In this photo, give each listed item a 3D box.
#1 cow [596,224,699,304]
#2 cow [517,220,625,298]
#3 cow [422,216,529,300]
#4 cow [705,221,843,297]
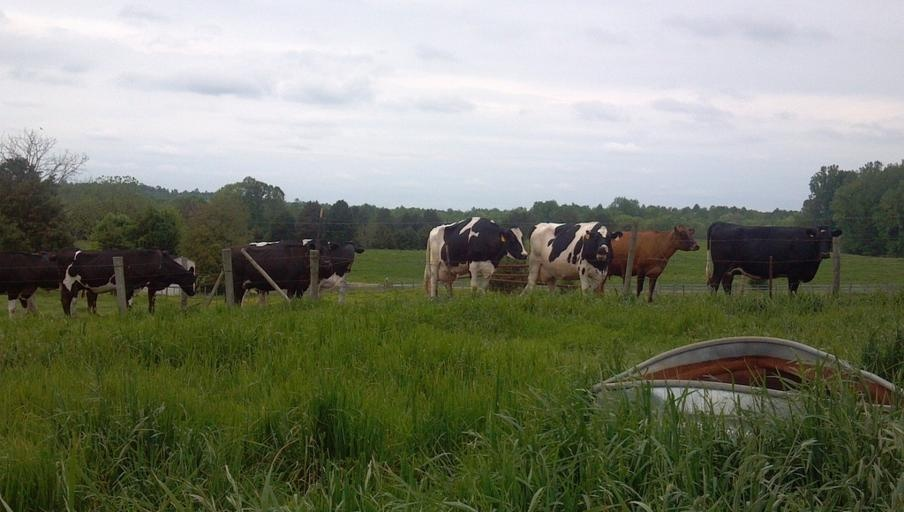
[{"bbox_3d":[7.237,0.026,36.799,6.727,3.799,1.931,-6,-6,39],"label":"cow"},{"bbox_3d":[5.342,0.211,38.049,2.400,3.156,6.093,-3,1,-28],"label":"cow"},{"bbox_3d":[2.017,-0.171,41.359,6.690,3.961,3.548,-3,-1,29],"label":"cow"},{"bbox_3d":[13.065,0.300,36.101,5.667,3.068,1.972,0,-3,2],"label":"cow"}]
